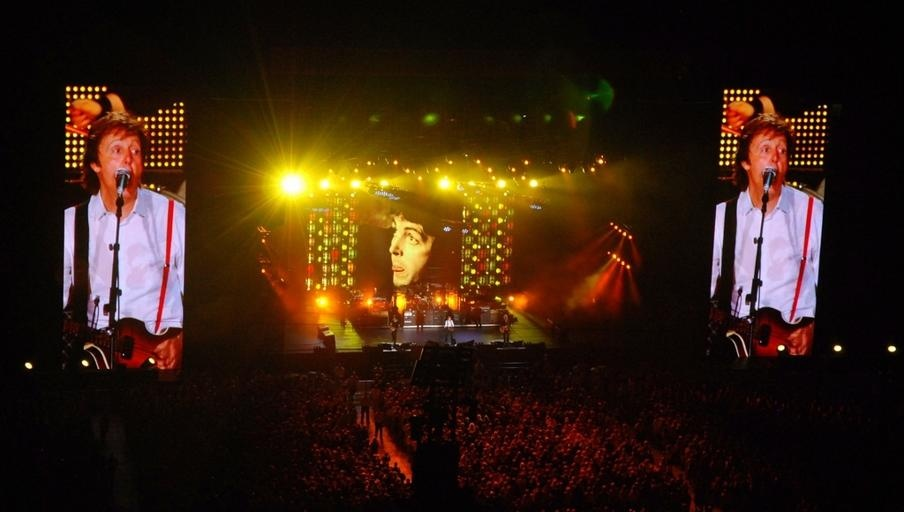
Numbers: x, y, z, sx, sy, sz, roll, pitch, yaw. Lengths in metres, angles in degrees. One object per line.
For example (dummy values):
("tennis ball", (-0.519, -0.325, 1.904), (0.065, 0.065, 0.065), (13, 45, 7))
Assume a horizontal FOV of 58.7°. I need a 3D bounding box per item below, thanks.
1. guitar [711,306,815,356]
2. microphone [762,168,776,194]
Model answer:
("guitar", (11.119, 2.771, 28.541), (3.494, 1.739, 0.901), (0, -1, -23))
("microphone", (11.199, -2.609, 28.508), (0.301, 0.907, 0.280), (11, -4, 10))
